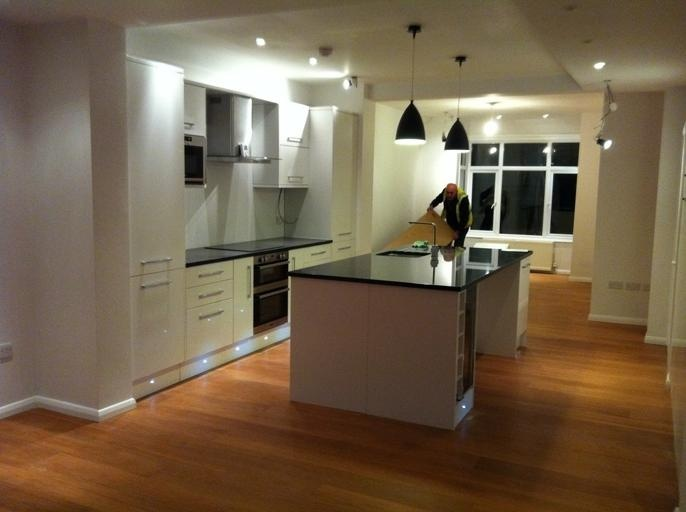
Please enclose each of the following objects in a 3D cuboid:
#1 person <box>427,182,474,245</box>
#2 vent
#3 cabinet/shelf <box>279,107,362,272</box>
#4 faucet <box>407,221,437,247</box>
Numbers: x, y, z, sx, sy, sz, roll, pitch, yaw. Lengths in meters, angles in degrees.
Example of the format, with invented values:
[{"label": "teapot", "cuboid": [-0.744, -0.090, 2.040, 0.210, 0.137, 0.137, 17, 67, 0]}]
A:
[{"label": "person", "cuboid": [1.464, -0.411, 7.229, 0.505, 1.228, 0.484, 20, 35, 37]}, {"label": "vent", "cuboid": [-1.117, -1.316, 5.686, 0.443, 0.798, 0.857, 5, 12, 17]}, {"label": "cabinet/shelf", "cuboid": [-0.151, -0.906, 6.751, 1.010, 1.890, 0.756, -4, 10, -30]}, {"label": "faucet", "cuboid": [0.875, -0.243, 5.757, 0.278, 0.285, 0.573, 1, 9, 4]}]
